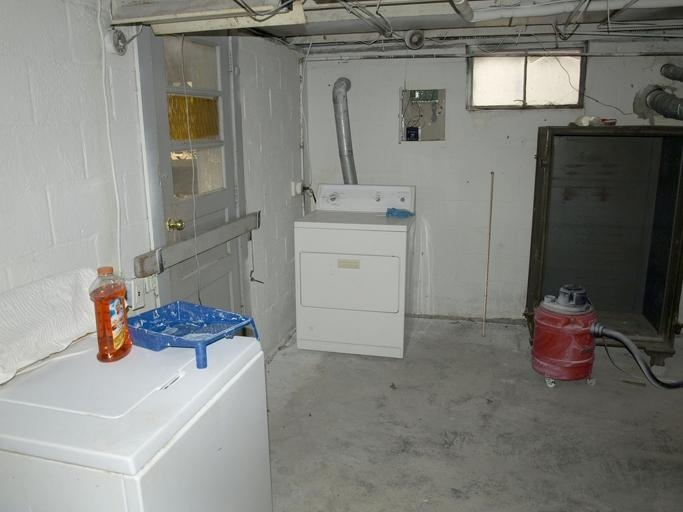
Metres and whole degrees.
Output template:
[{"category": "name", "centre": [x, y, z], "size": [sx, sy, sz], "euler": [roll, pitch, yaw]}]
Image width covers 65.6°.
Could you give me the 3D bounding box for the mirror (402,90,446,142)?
[{"category": "mirror", "centre": [0.690, -1.188, 4.498], "size": [0.364, 0.406, 0.059], "euler": [5, 16, 18]}]

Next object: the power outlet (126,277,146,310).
[{"category": "power outlet", "centre": [-0.999, 0.146, 2.588], "size": [0.050, 0.086, 0.061], "euler": [21, 24, 38]}]

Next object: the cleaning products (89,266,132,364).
[{"category": "cleaning products", "centre": [-0.892, 0.199, 2.041], "size": [0.124, 0.296, 0.344], "euler": [-7, 16, -24]}]
